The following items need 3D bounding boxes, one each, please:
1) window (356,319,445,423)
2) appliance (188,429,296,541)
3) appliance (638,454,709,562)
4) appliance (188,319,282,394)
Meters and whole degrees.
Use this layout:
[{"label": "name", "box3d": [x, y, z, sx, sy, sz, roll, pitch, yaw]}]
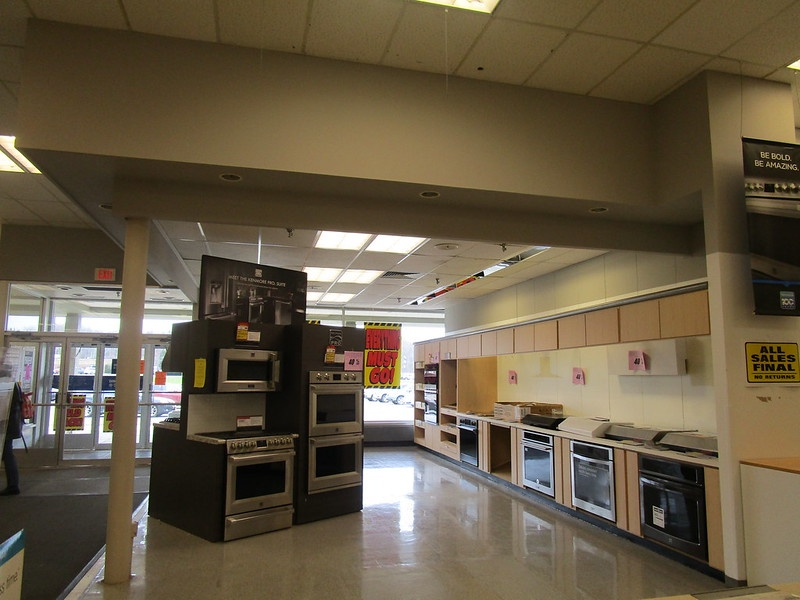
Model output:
[{"label": "window", "box3d": [-0.017, 1.442, 11.124, 2.296, 2.052, 0.787, 1, -1, -23]}, {"label": "appliance", "box3d": [-1.604, 1.836, 6.219, 1.270, 1.172, 0.967, 8, -14, -41]}, {"label": "appliance", "box3d": [2.797, 1.984, 5.581, 0.626, 0.920, 0.697, 4, -4, -32]}, {"label": "appliance", "box3d": [-1.787, 0.648, 6.343, 0.940, 0.793, 0.638, 7, -9, -40]}]
